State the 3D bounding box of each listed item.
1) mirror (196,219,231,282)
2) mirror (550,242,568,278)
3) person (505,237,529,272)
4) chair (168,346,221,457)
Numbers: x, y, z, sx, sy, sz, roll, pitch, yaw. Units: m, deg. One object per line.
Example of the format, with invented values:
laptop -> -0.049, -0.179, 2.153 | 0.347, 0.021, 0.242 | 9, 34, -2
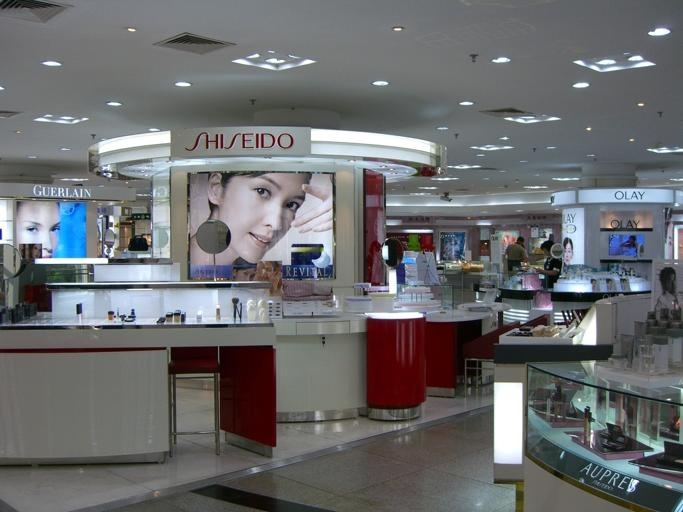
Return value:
mirror -> -1.678, 0.053, 7.601 | 0.449, 1.069, 0.215 | 0, 20, -6
mirror -> 5.176, 0.171, 13.513 | 0.225, 0.934, 0.638 | 2, 13, -4
person -> 4.549, -0.061, 15.035 | 0.475, 0.881, 1.800 | 1, 3, 17
chair -> -1.548, 1.406, 6.127 | 0.523, 1.064, 1.563 | 0, 3, -15
